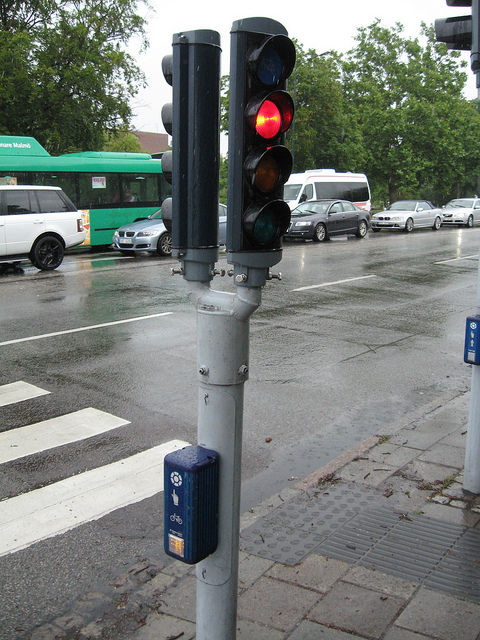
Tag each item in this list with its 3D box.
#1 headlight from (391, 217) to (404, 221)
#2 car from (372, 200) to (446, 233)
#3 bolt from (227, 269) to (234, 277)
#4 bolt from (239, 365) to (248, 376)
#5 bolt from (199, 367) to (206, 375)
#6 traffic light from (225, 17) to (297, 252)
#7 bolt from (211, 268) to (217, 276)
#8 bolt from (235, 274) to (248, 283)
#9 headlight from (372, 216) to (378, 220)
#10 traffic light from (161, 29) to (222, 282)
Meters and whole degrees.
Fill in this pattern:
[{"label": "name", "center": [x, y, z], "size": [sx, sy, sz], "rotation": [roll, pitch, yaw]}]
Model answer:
[{"label": "headlight", "center": [8.007, -5.119, 32.038], "size": [0.593, 0.126, 0.052], "rotation": [-1, 10, -10]}, {"label": "car", "center": [8.687, -5.432, 33.150], "size": [1.688, 1.345, 3.820], "rotation": [6, 10, 44]}, {"label": "bolt", "center": [-0.032, -0.153, 2.051], "size": [0.016, 0.032, 0.023], "rotation": [-11, 13, -36]}, {"label": "bolt", "center": [0.014, 0.166, 2.109], "size": [0.016, 0.032, 0.033], "rotation": [6, 12, 27]}, {"label": "bolt", "center": [-0.124, 0.167, 2.106], "size": [0.020, 0.027, 0.020], "rotation": [2, 6, 10]}, {"label": "traffic light", "center": [0.084, -0.551, 1.931], "size": [0.232, 0.685, 0.120], "rotation": [-7, 13, -37]}, {"label": "bolt", "center": [-0.087, -0.167, 2.187], "size": [0.006, 0.021, 0.020], "rotation": [6, -21, 33]}, {"label": "bolt", "center": [0.008, -0.133, 2.019], "size": [0.034, 0.027, 0.012], "rotation": [-1, 11, -11]}, {"label": "headlight", "center": [6.849, -5.185, 32.201], "size": [0.166, 0.134, 0.169], "rotation": [1, -1, -36]}, {"label": "traffic light", "center": [-0.161, -0.514, 2.076], "size": [0.193, 0.795, 0.211], "rotation": [0, 10, -6]}]
